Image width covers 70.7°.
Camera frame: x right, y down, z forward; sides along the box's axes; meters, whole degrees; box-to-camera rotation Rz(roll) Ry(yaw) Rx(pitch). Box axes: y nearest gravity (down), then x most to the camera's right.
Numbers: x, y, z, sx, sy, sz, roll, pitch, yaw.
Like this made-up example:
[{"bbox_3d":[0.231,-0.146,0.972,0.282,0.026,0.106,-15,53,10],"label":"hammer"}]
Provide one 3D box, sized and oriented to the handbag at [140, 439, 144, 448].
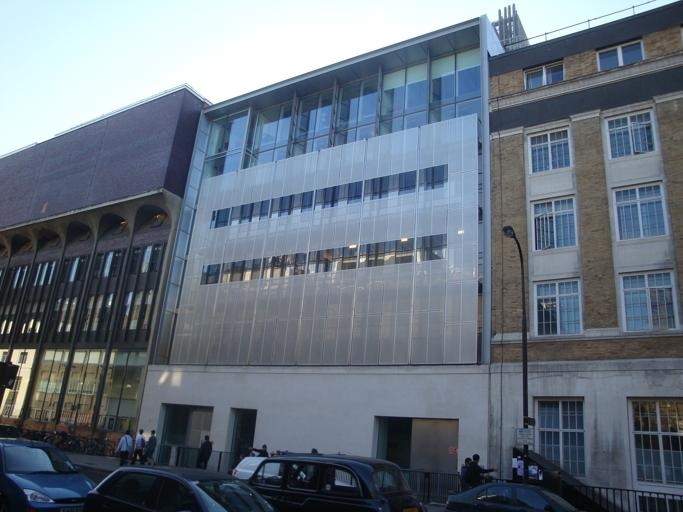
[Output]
[{"bbox_3d":[-11.022,10.344,26.626,0.219,0.295,0.157,-8,-14,14],"label":"handbag"}]
